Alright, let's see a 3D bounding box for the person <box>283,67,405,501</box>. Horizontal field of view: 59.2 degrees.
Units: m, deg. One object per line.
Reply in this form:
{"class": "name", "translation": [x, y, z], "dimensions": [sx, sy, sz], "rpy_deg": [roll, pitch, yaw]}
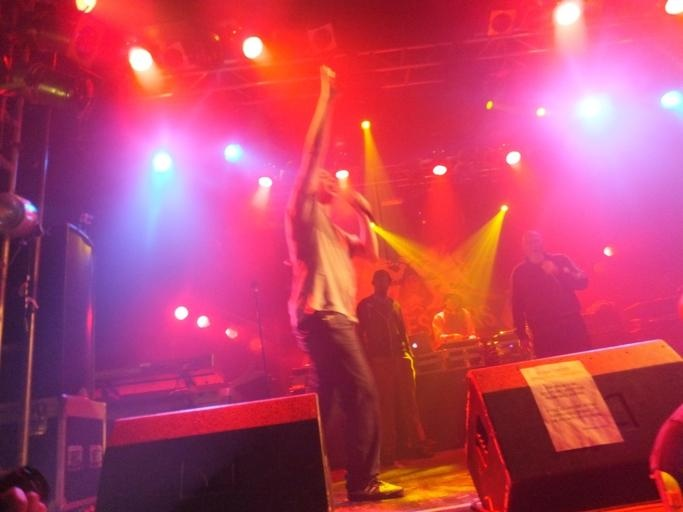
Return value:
{"class": "person", "translation": [-0.079, 0.439, 5.597], "dimensions": [0.889, 3.234, 1.617], "rpy_deg": [-9, -34, 5]}

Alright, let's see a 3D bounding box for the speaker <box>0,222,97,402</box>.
{"class": "speaker", "translation": [-3.123, 0.608, 6.449], "dimensions": [0.553, 1.999, 1.206], "rpy_deg": [-1, -34, -7]}

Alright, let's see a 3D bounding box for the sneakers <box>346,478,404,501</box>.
{"class": "sneakers", "translation": [0.292, 2.088, 5.422], "dimensions": [0.512, 0.215, 0.195], "rpy_deg": [-3, -22, -2]}
